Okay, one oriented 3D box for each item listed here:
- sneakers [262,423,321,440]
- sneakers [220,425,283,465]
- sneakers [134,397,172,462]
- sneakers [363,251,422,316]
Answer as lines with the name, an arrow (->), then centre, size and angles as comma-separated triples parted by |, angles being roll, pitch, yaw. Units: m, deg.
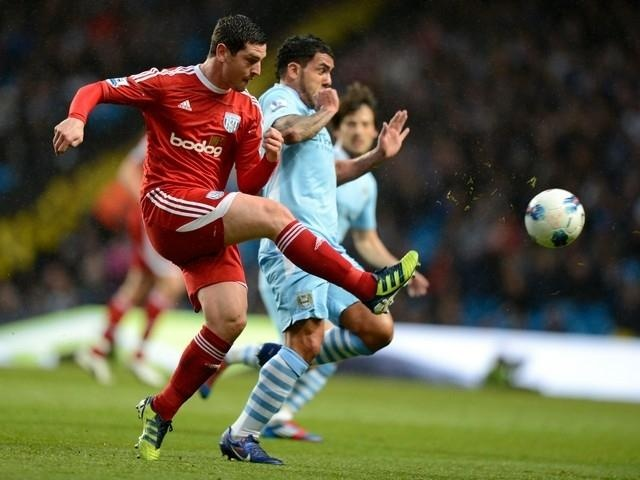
sneakers -> -0.244, 1.611, 6.758 | 0.492, 0.227, 0.179 | 2, -6, 2
sneakers -> -0.430, 1.450, 5.614 | 0.534, 0.247, 0.183 | 12, -6, 5
sneakers -> -1.135, 1.356, 5.608 | 0.236, 0.514, 0.179 | -17, -25, 35
sneakers -> 0.488, 0.297, 5.561 | 0.217, 0.434, 0.276 | 25, 8, 28
